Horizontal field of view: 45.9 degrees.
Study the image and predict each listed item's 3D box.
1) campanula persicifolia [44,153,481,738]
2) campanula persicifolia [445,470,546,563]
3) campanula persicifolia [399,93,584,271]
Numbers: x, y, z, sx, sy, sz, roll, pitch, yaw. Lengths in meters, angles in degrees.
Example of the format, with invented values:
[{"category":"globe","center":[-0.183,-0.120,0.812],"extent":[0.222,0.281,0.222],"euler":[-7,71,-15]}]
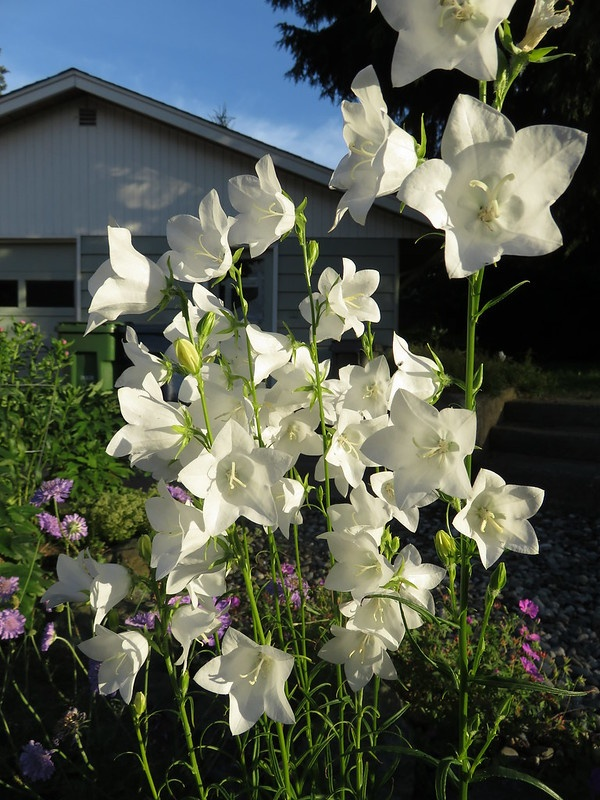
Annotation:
[{"category":"campanula persicifolia","center":[-0.108,0.086,1.460],"extent":[0.911,1.228,0.462],"euler":[-5,11,-27]},{"category":"campanula persicifolia","center":[0.342,0.199,1.198],"extent":[0.119,0.146,0.108],"euler":[3,3,19]},{"category":"campanula persicifolia","center":[0.276,-0.293,1.020],"extent":[0.238,0.261,0.237],"euler":[3,3,14]}]
